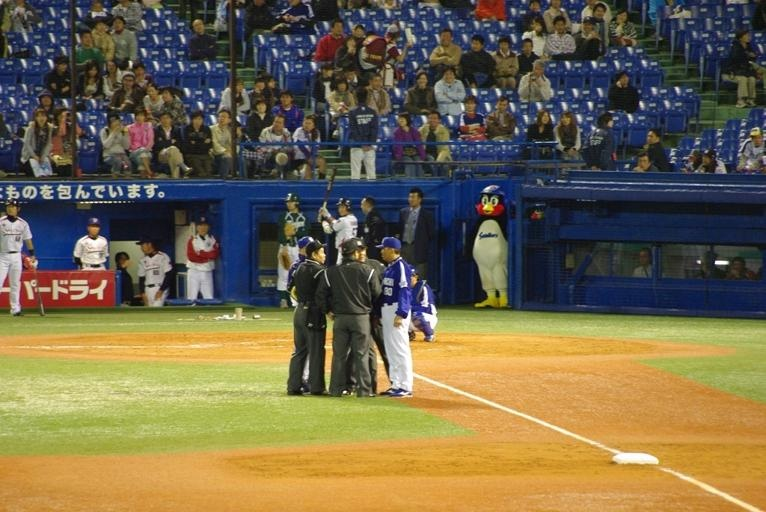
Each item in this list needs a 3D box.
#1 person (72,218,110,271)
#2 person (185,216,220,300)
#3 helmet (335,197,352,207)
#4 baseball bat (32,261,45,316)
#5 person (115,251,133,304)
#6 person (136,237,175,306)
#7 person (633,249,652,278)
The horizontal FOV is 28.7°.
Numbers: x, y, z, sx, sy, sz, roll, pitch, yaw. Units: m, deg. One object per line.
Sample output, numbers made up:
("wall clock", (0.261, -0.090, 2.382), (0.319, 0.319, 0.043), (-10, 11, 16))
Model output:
("person", (-7.166, -0.199, 36.809), (1.081, 1.335, 0.647), (-2, 10, -36))
("person", (-4.515, 0.336, 37.643), (0.976, 2.431, 0.758), (-2, 7, -22))
("helmet", (-0.938, -1.289, 36.128), (0.341, 0.144, 0.218), (17, 2, 1))
("baseball bat", (-8.314, 0.837, 36.150), (0.120, 0.099, 1.529), (-13, 16, -14))
("person", (-6.556, 0.574, 38.078), (0.483, 1.304, 0.956), (1, -1, -9))
("person", (-5.738, 0.441, 37.846), (0.813, 1.642, 1.082), (1, -1, -9))
("person", (6.286, 0.179, 36.279), (0.454, 0.685, 0.229), (0, -1, 10))
